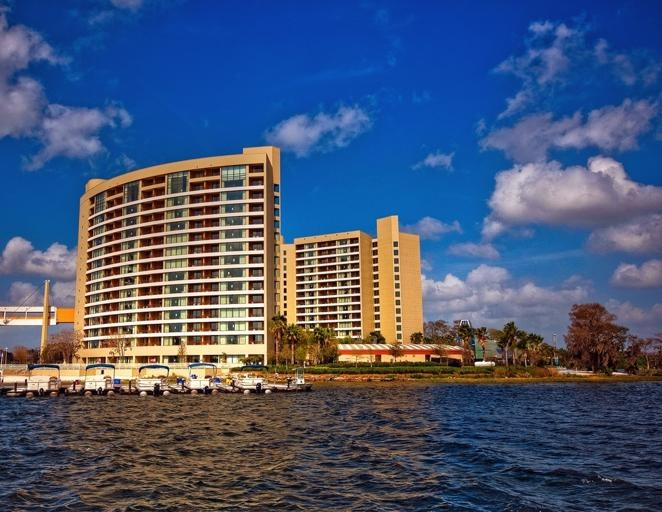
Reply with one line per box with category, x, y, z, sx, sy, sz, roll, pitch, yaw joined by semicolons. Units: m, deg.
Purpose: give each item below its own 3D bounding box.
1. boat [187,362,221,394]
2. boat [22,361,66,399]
boat;-19.546;18.481;95.160;4.187;5.391;18.635;1;-14;-11
boat;-39.719;17.290;85.792;4.134;3.784;7.185;4;-11;-26
